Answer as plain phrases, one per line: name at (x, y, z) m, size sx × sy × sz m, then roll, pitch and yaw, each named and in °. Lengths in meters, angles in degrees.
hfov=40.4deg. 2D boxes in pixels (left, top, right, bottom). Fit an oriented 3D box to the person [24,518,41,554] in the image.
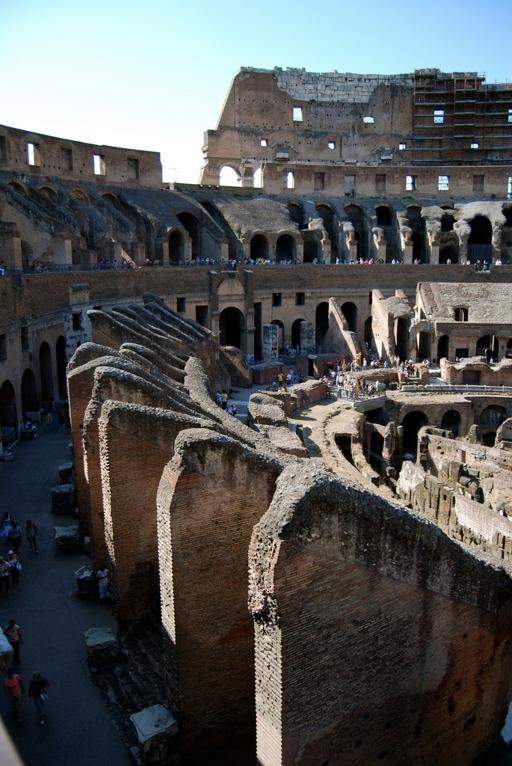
person at (-3.216, 2.142, 10.114) m, size 0.179 × 0.577 × 0.796 m, roll 2°, pitch 10°, yaw -18°
